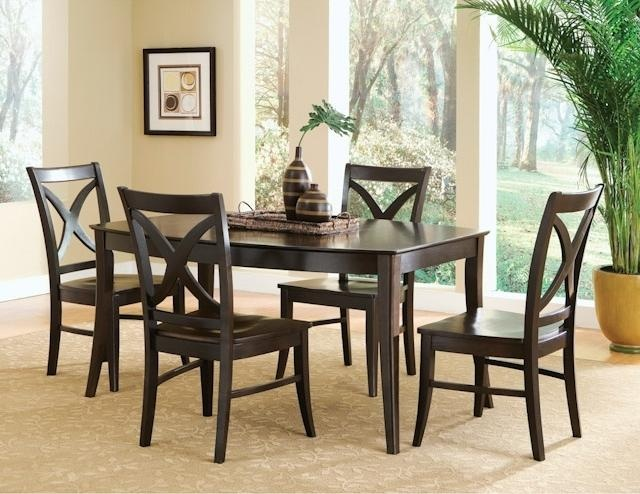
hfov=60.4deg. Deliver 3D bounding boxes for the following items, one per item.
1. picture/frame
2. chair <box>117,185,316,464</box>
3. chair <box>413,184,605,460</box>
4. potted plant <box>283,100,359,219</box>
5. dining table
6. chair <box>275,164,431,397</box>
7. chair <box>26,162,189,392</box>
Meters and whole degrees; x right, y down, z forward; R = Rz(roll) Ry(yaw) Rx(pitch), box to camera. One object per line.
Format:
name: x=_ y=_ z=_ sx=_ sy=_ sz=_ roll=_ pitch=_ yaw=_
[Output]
picture/frame: x=-1.389 y=-1.593 z=5.517 sx=0.973 sy=1.051 sz=0.079 roll=2 pitch=6 yaw=16
chair: x=-0.416 y=0.308 z=2.373 sx=0.698 sy=1.032 sz=0.729 roll=2 pitch=0 yaw=15
chair: x=0.826 y=0.307 z=2.377 sx=0.645 sy=1.015 sz=0.580 roll=-1 pitch=2 yaw=38
potted plant: x=-0.052 y=-0.449 z=2.910 sx=0.454 sy=0.603 sz=0.359 roll=-9 pitch=15 yaw=-41
dining table: x=0.144 y=0.080 z=2.621 sx=1.653 sy=0.793 sz=1.152 roll=2 pitch=4 yaw=32
chair: x=0.191 y=0.150 z=3.150 sx=0.658 sy=1.199 sz=0.792 roll=3 pitch=7 yaw=28
chair: x=-1.221 y=0.144 z=3.174 sx=0.823 sy=1.145 sz=0.760 roll=4 pitch=9 yaw=0
